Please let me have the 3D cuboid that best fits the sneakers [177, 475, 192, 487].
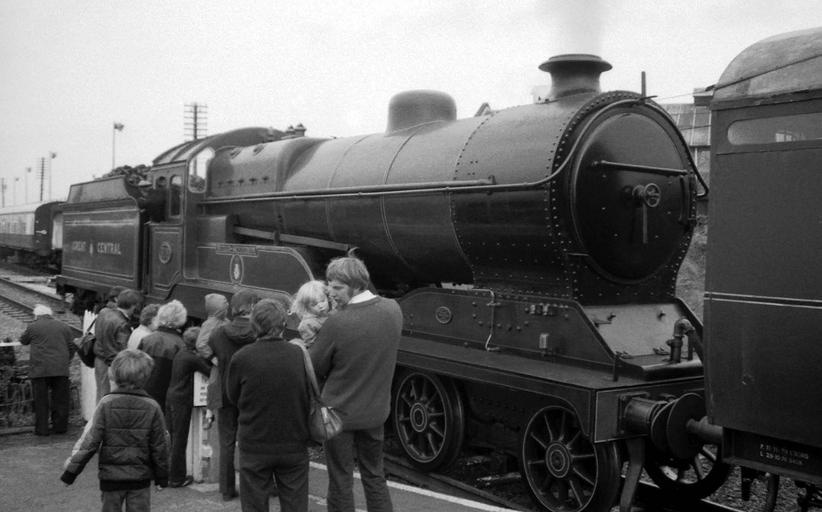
[{"bbox_3d":[-2.535,2.513,7.017,0.052,0.063,0.156,13,16,30],"label":"sneakers"}]
